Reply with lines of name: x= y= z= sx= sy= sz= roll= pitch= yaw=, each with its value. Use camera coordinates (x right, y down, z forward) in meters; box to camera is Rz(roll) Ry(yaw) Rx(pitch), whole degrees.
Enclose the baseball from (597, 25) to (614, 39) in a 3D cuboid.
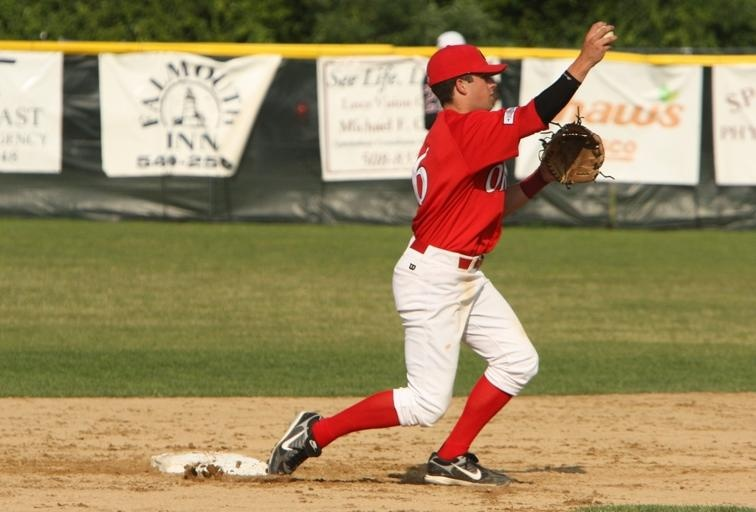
baseball: x=2.400 y=-2.369 z=23.304 sx=0.176 sy=0.120 sz=0.091 roll=-6 pitch=13 yaw=-44
